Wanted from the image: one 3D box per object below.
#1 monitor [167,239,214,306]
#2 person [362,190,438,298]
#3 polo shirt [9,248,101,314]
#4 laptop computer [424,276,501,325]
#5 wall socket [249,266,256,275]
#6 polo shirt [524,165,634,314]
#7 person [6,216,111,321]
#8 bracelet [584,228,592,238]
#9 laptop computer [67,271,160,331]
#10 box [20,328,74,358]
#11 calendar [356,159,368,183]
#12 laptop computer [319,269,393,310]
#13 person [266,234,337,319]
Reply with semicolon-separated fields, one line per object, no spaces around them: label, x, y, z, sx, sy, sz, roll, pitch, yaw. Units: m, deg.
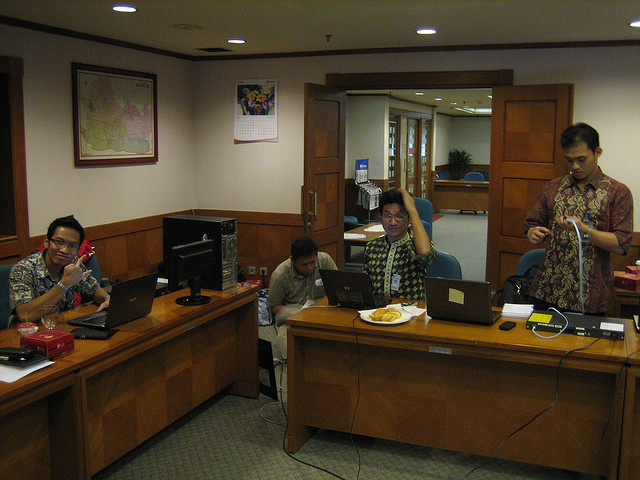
monitor;-0.871;0.226;3.351;0.220;0.386;0.405;3;8;21
person;0.556;0.035;3.459;0.505;0.776;0.248;2;10;11
polo shirt;-1.837;0.280;3.340;0.508;0.455;0.436;26;14;38
laptop computer;0.826;0.363;2.880;0.353;0.268;0.310;3;11;25
wall socket;-0.921;0.425;6.677;0.104;0.113;0.019;2;5;12
polo shirt;1.677;0.015;3.161;0.471;1.239;0.444;6;9;37
person;-1.932;0.206;3.522;0.452;0.854;0.529;13;18;32
bracelet;1.655;-0.036;3.001;0.044;0.059;0.018;0;10;2
laptop computer;-1.294;0.344;3.049;0.399;0.291;0.393;6;12;24
box;-1.477;0.559;2.638;0.214;0.102;0.179;5;12;25
calendar;0.926;-1.510;10.876;0.051;0.587;0.493;3;6;32
laptop computer;0.190;0.262;3.161;0.348;0.254;0.308;4;14;32
person;-0.169;0.319;4.308;0.609;0.714;0.347;0;10;-1
